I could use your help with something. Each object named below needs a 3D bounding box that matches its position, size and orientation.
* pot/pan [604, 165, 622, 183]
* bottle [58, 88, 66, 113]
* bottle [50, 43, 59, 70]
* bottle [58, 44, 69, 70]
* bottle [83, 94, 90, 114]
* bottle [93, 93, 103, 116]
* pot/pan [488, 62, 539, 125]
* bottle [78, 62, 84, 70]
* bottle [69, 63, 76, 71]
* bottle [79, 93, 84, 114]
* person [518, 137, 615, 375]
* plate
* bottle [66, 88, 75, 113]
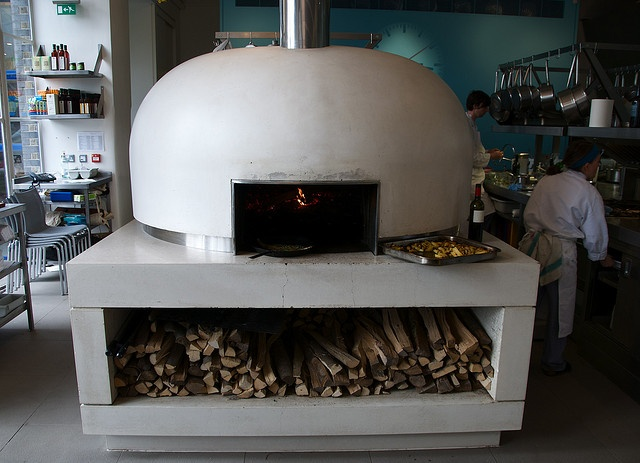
[{"bbox_3d":[2.945,-0.577,4.972,0.166,0.161,0.169,-3,0,-32],"label":"pot/pan"},{"bbox_3d":[-3.051,-1.554,5.858,0.100,0.274,0.033,-5,14,-17],"label":"bottle"},{"bbox_3d":[-3.137,-2.078,5.847,0.096,0.294,0.181,-8,15,-26],"label":"bottle"},{"bbox_3d":[-3.049,-2.087,5.870,0.126,0.299,0.193,-7,14,-24],"label":"bottle"},{"bbox_3d":[-2.807,-1.545,5.948,0.059,0.215,0.128,-4,14,-14],"label":"bottle"},{"bbox_3d":[-2.724,-1.571,6.066,0.088,0.287,0.205,0,13,5],"label":"bottle"},{"bbox_3d":[1.923,-1.372,4.949,0.394,0.574,0.877,2,14,11],"label":"pot/pan"},{"bbox_3d":[-2.835,-1.974,5.868,0.072,0.088,0.075,-1,0,-5],"label":"bottle"},{"bbox_3d":[-2.919,-1.967,5.883,0.078,0.092,0.081,0,3,3],"label":"bottle"},{"bbox_3d":[-2.859,-1.547,5.943,0.065,0.221,0.083,-7,14,-25],"label":"bottle"},{"bbox_3d":[1.743,0.189,3.603,0.541,1.678,0.442,3,14,17],"label":"person"},{"bbox_3d":[0.673,0.102,2.848,0.577,0.083,0.401,-8,15,-26],"label":"plate"},{"bbox_3d":[-2.974,-1.561,5.881,0.064,0.277,0.091,-3,13,-10],"label":"bottle"}]
